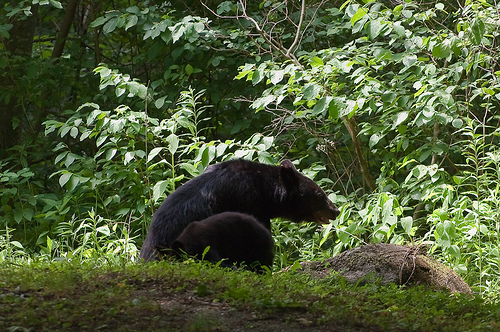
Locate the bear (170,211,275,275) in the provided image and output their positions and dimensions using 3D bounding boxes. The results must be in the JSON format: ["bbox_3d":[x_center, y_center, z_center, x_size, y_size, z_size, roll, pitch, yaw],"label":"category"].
[{"bbox_3d":[-0.300,0.732,6.152,0.985,0.542,0.540,-1,15,-11],"label":"bear"}]
